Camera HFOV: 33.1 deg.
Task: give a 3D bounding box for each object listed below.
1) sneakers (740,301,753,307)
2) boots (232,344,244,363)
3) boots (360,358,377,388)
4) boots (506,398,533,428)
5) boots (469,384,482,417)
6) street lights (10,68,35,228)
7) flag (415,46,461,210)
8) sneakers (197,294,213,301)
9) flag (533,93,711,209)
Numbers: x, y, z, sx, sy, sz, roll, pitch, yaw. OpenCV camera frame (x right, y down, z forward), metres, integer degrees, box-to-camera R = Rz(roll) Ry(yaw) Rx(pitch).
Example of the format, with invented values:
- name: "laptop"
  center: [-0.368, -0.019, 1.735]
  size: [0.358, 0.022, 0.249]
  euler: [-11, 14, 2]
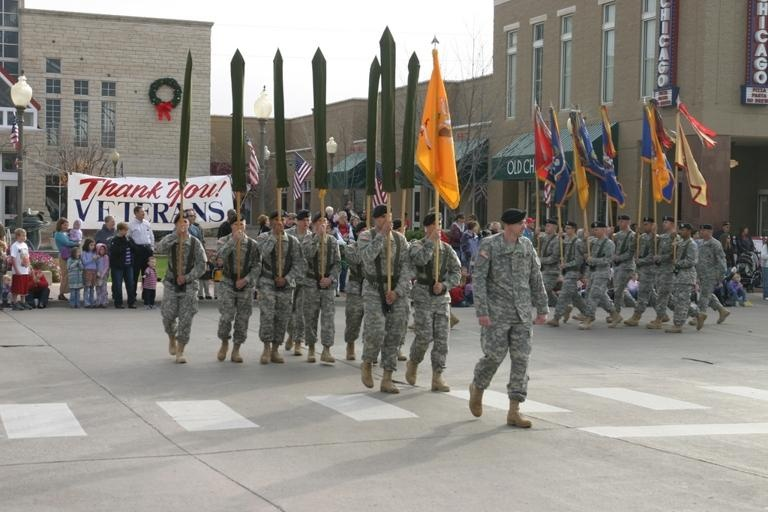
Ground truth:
- name: "sneakers"
  center: [10.337, 1.355, 36.668]
  size: [0.152, 0.167, 0.418]
  euler: [0, -5, -14]
- name: "boots"
  center: [-3.018, 2.045, 26.395]
  size: [0.185, 0.350, 0.461]
  euler: [4, -14, -21]
- name: "boots"
  center: [-0.259, 2.228, 24.516]
  size: [0.207, 0.539, 0.271]
  euler: [-3, -2, -16]
- name: "boots"
  center: [2.399, 2.769, 22.677]
  size: [0.399, 0.483, 0.405]
  euler: [-1, 3, -22]
- name: "boots"
  center: [1.650, 2.578, 23.025]
  size: [0.215, 0.600, 0.230]
  euler: [0, 3, 4]
- name: "street lights"
  center: [-9.608, -2.735, 34.110]
  size: [0.814, 4.183, 0.659]
  euler: [3, 4, 13]
- name: "flag"
  center: [1.062, -2.450, 24.888]
  size: [0.790, 3.065, 1.547]
  euler: [0, 3, 3]
- name: "sneakers"
  center: [-4.864, 1.127, 35.222]
  size: [0.158, 0.178, 0.457]
  euler: [1, -3, -32]
- name: "flag"
  center: [6.495, -2.813, 34.258]
  size: [3.947, 2.961, 5.075]
  euler: [2, 4, 36]
